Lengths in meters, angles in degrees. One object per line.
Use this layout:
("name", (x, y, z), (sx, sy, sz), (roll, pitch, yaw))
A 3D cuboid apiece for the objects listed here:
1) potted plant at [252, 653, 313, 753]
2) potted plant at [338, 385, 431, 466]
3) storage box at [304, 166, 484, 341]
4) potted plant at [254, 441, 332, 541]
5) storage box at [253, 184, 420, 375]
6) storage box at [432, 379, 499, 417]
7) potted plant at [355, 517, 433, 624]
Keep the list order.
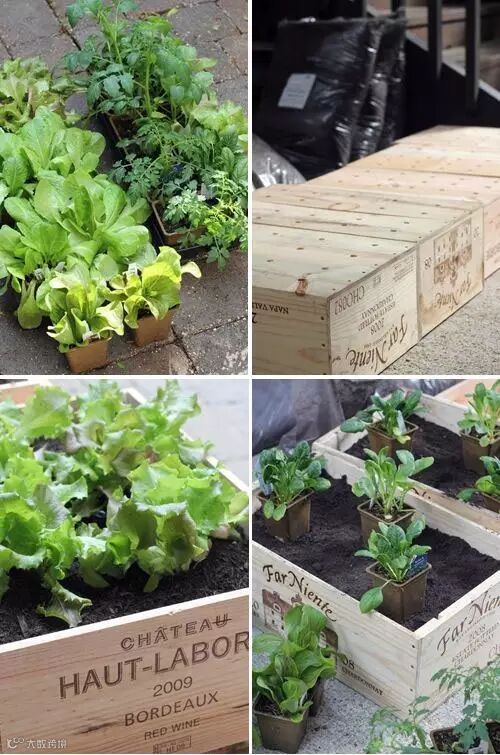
("potted plant", (0.060, 0.625, 1.149), (0.091, 0.083, 0.130), (4, 9, 21))
("potted plant", (0.354, 0.114, 1.626), (0.208, 0.142, 0.208), (19, 48, 36))
("storage box", (0.294, -0.252, 1.427), (0.384, 0.239, 0.387), (20, 44, 32))
("potted plant", (0.093, 0.275, 1.451), (0.180, 0.226, 0.235), (-3, 16, 2))
("storage box", (0.151, -0.130, 1.107), (0.332, 0.152, 0.245), (-24, 28, -35))
("storage box", (0.710, 0.039, 2.041), (0.135, 0.057, 0.138), (-27, 28, -14))
("potted plant", (0.283, 0.388, 1.189), (0.145, 0.143, 0.129), (-30, 40, -34))
